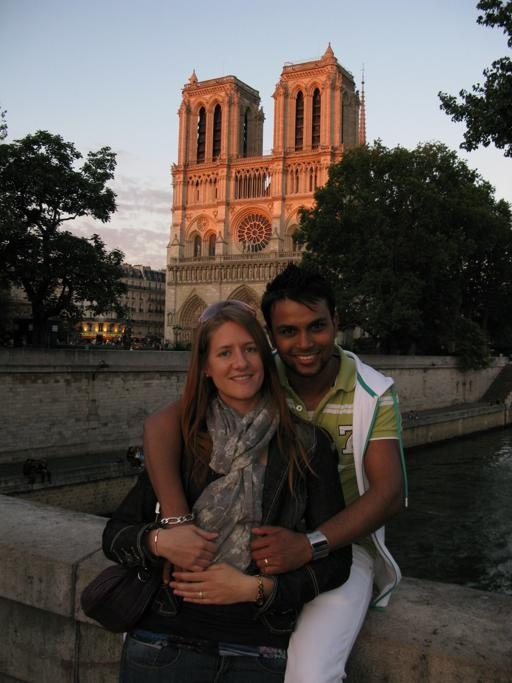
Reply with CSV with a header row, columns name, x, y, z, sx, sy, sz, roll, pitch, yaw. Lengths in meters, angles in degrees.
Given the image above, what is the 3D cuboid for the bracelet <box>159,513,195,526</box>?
name,x,y,z,sx,sy,sz,roll,pitch,yaw
bracelet,-0.223,0.502,1.748,0.096,0.032,0.061,1,1,-8

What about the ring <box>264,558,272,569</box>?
name,x,y,z,sx,sy,sz,roll,pitch,yaw
ring,0.030,0.587,1.660,0.017,0.021,0.008,-13,-6,-19

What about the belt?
name,x,y,z,sx,sy,sz,roll,pitch,yaw
belt,-0.111,0.803,1.664,0.291,0.038,0.069,5,-47,2

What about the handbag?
name,x,y,z,sx,sy,sz,roll,pitch,yaw
handbag,-0.384,0.707,1.747,0.218,0.164,0.097,2,1,24

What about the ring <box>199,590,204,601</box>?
name,x,y,z,sx,sy,sz,roll,pitch,yaw
ring,-0.147,0.667,1.652,0.015,0.018,0.019,2,-40,3

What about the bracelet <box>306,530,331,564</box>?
name,x,y,z,sx,sy,sz,roll,pitch,yaw
bracelet,0.169,0.551,1.700,0.059,0.080,0.082,-17,-44,-5

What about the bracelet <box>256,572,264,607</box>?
name,x,y,z,sx,sy,sz,roll,pitch,yaw
bracelet,0.011,0.649,1.629,0.024,0.053,0.041,-5,-3,-11
